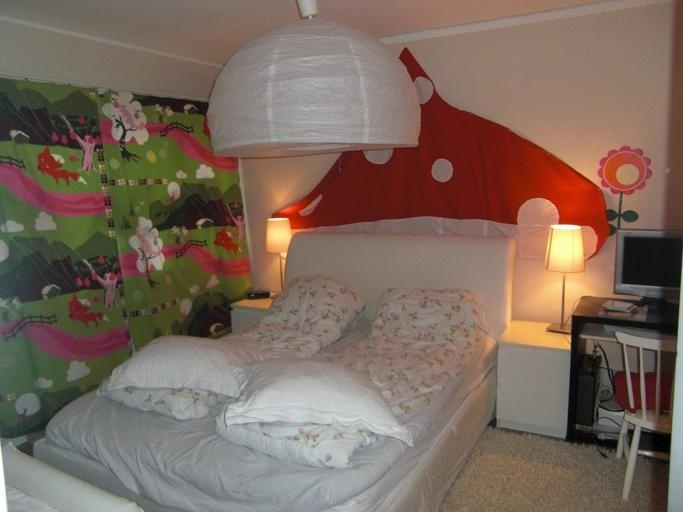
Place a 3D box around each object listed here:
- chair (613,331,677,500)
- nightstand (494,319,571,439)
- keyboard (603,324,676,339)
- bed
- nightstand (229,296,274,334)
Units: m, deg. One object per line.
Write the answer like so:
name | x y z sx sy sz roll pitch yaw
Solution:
chair | 1.891 0.932 3.074 0.355 1.026 0.788 7 8 33
nightstand | 1.502 0.908 3.881 0.538 0.708 0.744 2 16 18
keyboard | 1.932 0.503 3.197 0.237 0.058 0.156 4 4 32
bed | 0.096 0.497 3.399 1.999 1.252 2.191 6 12 29
nightstand | -0.878 0.458 4.892 0.445 0.457 0.355 7 -38 -17
